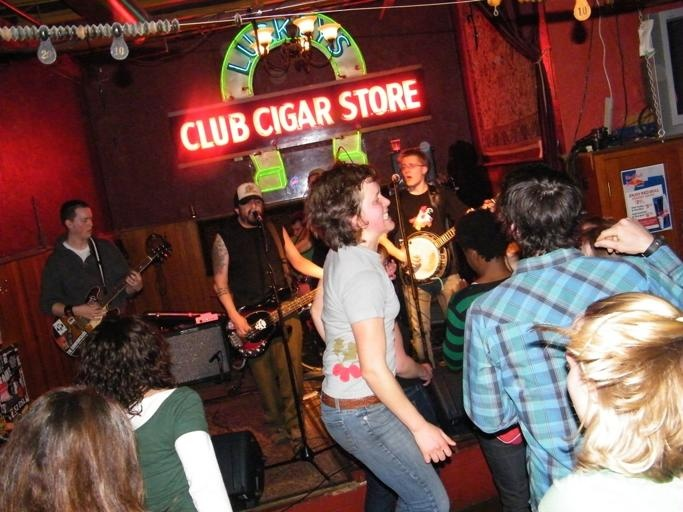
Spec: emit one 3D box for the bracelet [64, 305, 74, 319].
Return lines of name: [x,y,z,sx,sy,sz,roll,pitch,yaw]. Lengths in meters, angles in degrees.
bracelet: [-2.450,0.513,4.439,0.058,0.101,0.067,0,2,9]

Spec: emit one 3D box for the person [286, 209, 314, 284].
person: [-0.383,-0.055,4.581,0.277,0.299,0.804,0,19,-15]

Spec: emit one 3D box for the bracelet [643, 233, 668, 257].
bracelet: [1.253,-0.038,1.979,0.076,0.080,0.076,-46,-36,5]

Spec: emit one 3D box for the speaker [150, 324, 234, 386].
speaker: [-1.688,1.077,5.574,0.714,0.688,0.400,-11,16,-28]

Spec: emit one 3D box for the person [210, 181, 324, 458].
person: [-0.505,0.485,3.884,0.886,2.112,0.685,-13,12,-20]

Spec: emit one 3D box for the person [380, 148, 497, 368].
person: [1.011,0.163,4.769,1.096,2.413,0.705,-5,15,27]
